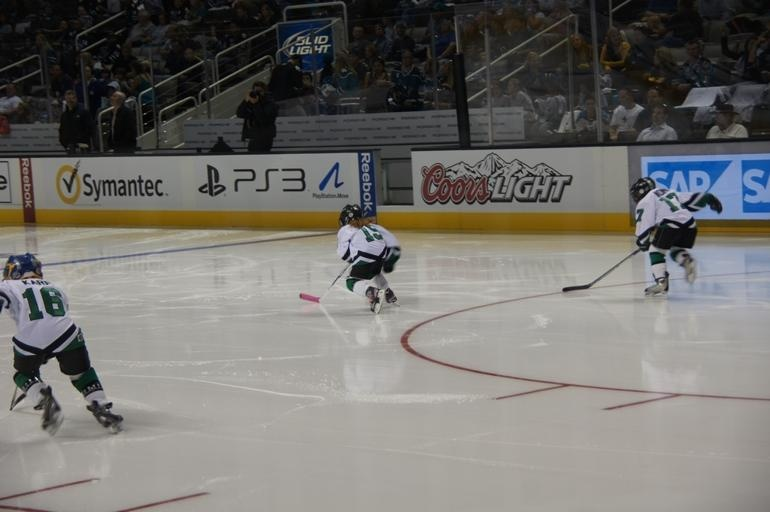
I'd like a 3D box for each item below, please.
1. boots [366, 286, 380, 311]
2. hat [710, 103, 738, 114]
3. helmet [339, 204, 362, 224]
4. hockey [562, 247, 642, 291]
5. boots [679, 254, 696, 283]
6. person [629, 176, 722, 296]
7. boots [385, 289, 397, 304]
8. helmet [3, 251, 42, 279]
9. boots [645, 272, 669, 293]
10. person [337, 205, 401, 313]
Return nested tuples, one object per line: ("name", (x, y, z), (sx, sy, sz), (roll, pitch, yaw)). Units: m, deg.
("boots", (-0.122, 0.489, 9.199), (0.168, 0.317, 0.185), (-1, 14, 8))
("hat", (5.423, -2.336, 13.029), (0.347, 0.158, 0.289), (2, 13, 19))
("helmet", (-0.414, -0.483, 9.520), (0.296, 0.266, 0.209), (12, 5, 18))
("hockey", (2.878, 0.188, 10.817), (0.039, 0.727, 0.234), (28, 26, -33))
("boots", (3.520, 0.138, 9.380), (0.139, 0.315, 0.151), (-17, 1, -22))
("person", (3.335, -0.247, 9.619), (0.837, 1.314, 1.107), (1, 14, 17))
("boots", (0.061, 0.452, 9.332), (0.160, 0.150, 0.070), (15, -5, -9))
("helmet", (-2.854, 0.071, 6.466), (0.224, 0.226, 0.267), (-5, 7, -40))
("boots", (3.149, 0.289, 9.475), (0.253, 0.261, 0.467), (1, 13, 17))
("person", (-0.183, 0.041, 9.374), (0.682, 1.197, 0.745), (-3, 14, 2))
